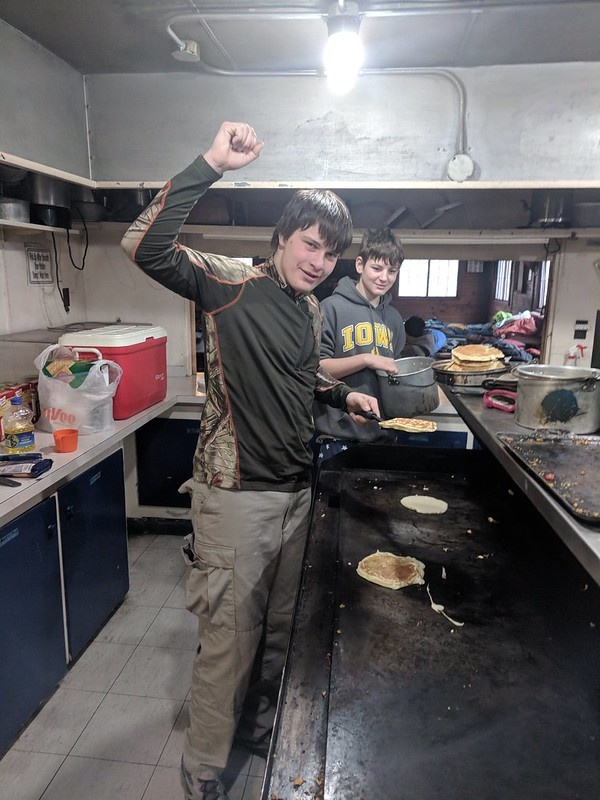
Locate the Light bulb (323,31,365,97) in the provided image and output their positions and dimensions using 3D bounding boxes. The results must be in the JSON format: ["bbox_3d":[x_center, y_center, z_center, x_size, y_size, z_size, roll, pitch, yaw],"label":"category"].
[{"bbox_3d":[0.149,-1.174,1.920,0.124,0.146,0.198,2,13,6],"label":"Light bulb"}]

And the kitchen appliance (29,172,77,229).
[{"bbox_3d":[-1.172,-0.914,2.563,0.203,0.215,0.205,-12,-20,6],"label":"kitchen appliance"}]

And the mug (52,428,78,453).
[{"bbox_3d":[-0.794,0.137,1.821,0.068,0.062,0.084,4,27,0],"label":"mug"}]

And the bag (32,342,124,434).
[{"bbox_3d":[-0.851,-0.033,2.053,0.300,0.314,0.177,4,6,9],"label":"bag"}]

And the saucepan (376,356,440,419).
[{"bbox_3d":[0.375,-0.040,1.967,0.208,0.175,0.218,4,24,35],"label":"saucepan"}]
